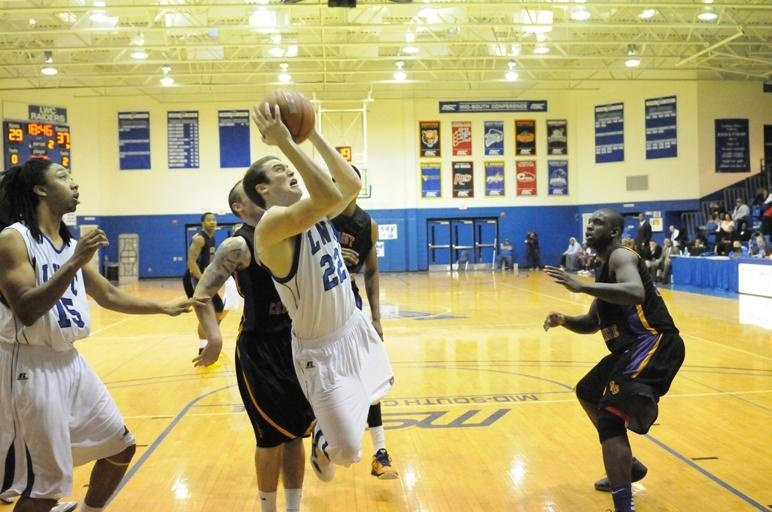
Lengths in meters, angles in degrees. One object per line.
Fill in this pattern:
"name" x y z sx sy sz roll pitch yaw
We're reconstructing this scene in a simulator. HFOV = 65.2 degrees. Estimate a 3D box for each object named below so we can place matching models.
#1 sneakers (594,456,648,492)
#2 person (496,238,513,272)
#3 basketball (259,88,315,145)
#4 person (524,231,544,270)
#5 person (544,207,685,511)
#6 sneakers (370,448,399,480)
"sneakers" 1.647 1.562 4.392 0.328 0.229 0.111 -12 16 -3
"person" 4.342 -0.051 21.727 0.637 1.015 0.396 0 7 -6
"basketball" -0.545 -0.835 3.559 0.307 0.308 0.296 -3 1 5
"person" 5.253 -0.190 21.466 0.679 1.301 0.568 -1 7 -16
"person" 1.587 0.697 4.162 0.900 2.013 0.793 0 7 -2
"sneakers" -0.006 1.561 4.533 0.122 0.151 0.308 2 -10 -13
